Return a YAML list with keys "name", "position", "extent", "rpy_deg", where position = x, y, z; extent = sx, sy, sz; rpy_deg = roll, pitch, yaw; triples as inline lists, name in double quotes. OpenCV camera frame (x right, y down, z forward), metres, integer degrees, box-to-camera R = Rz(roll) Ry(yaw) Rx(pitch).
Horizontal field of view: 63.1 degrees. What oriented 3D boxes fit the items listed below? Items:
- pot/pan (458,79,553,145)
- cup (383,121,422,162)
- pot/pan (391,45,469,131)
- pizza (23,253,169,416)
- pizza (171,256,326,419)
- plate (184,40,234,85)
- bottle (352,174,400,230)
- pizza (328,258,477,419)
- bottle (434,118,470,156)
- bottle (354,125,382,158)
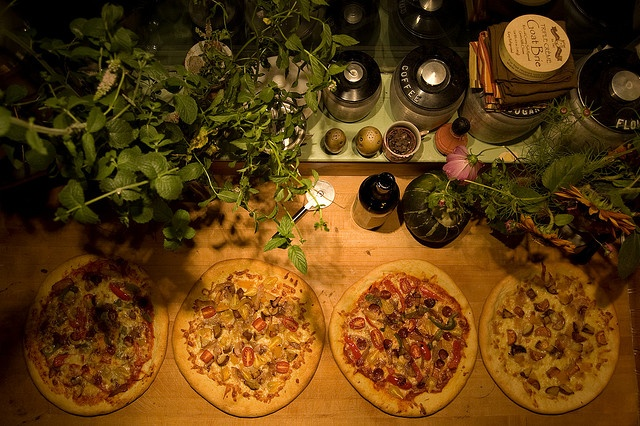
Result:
- name: "pot/pan"
  position: [0.760, -0.390, 2.214]
  extent: [0.232, 0.179, 0.272]
  rpy_deg: [7, 69, -1]
- name: "cup"
  position: [0.347, -0.305, 2.231]
  extent: [0.122, 0.123, 0.187]
  rpy_deg: [23, 93, 5]
- name: "pot/pan"
  position: [0.463, -0.507, 2.300]
  extent: [0.292, 0.299, 0.333]
  rpy_deg: [-19, 83, -1]
- name: "pizza"
  position: [-0.988, 0.540, 2.296]
  extent: [0.627, 0.202, 0.646]
  rpy_deg: [16, 67, 10]
- name: "pizza"
  position: [-0.313, 0.540, 2.300]
  extent: [0.650, 0.196, 0.637]
  rpy_deg: [23, 68, 13]
- name: "plate"
  position: [-0.501, -0.623, 2.172]
  extent: [0.205, 0.057, 0.241]
  rpy_deg: [-7, 75, -4]
- name: "bottle"
  position: [0.232, -0.046, 2.208]
  extent: [0.194, 0.423, 0.127]
  rpy_deg: [2, 62, 4]
- name: "pizza"
  position: [0.377, 0.563, 2.310]
  extent: [0.640, 0.189, 0.619]
  rpy_deg: [-30, 67, -11]
- name: "bottle"
  position: [0.555, -0.321, 2.203]
  extent: [0.089, 0.134, 0.097]
  rpy_deg: [0, 79, 0]
- name: "bottle"
  position: [0.192, -0.288, 2.267]
  extent: [0.109, 0.136, 0.126]
  rpy_deg: [10, 77, -3]
